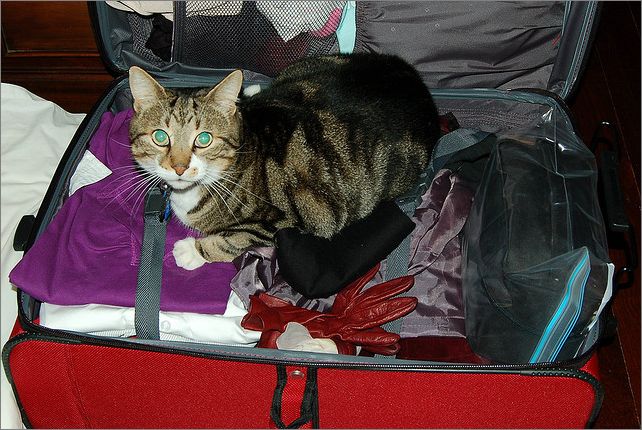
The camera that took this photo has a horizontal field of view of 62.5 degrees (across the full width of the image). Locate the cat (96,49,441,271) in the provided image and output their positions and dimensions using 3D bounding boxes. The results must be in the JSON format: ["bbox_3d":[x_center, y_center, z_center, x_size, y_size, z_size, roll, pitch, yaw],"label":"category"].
[{"bbox_3d":[-0.075,-0.253,1.585,0.897,0.487,0.608,-23,42,-24],"label":"cat"}]
